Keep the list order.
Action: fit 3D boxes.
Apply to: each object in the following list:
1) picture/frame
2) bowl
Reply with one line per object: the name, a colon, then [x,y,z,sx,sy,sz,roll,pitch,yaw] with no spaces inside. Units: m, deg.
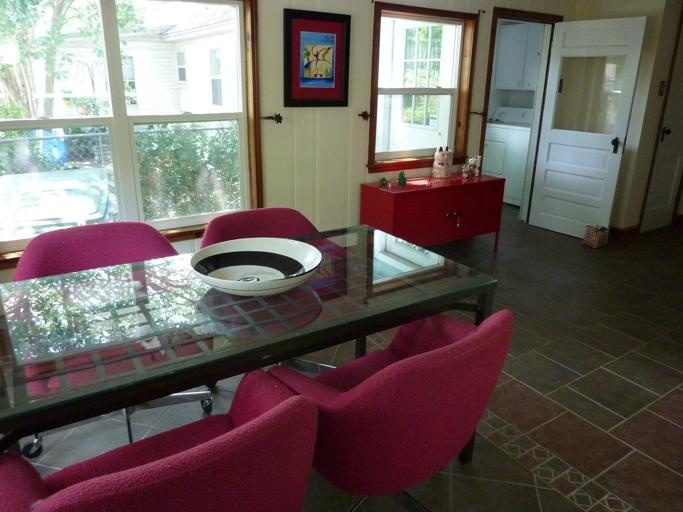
picture/frame: [-0.212,-1.607,3.843,0.787,0.853,0.070,-9,24,-30]
bowl: [-0.338,0.058,2.005,0.498,0.125,0.486,2,21,-1]
